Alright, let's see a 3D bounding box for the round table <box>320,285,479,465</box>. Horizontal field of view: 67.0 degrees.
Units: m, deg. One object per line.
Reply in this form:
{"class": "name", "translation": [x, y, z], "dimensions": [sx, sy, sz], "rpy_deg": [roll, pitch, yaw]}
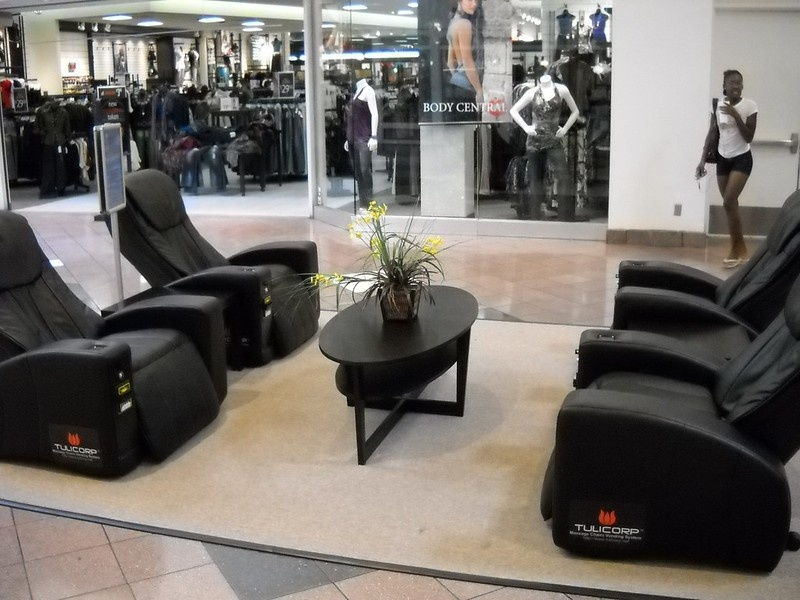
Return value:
{"class": "round table", "translation": [0.008, 0.352, 3.542], "dimensions": [0.751, 0.698, 1.188], "rpy_deg": [9, 20, 29]}

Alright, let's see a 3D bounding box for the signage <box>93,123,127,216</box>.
{"class": "signage", "translation": [-1.941, -0.871, 4.055], "dimensions": [0.187, 0.586, 0.506], "rpy_deg": [-8, 18, -20]}

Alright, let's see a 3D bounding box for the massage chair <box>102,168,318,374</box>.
{"class": "massage chair", "translation": [-1.396, -0.218, 4.770], "dimensions": [1.504, 1.511, 1.383], "rpy_deg": [4, 17, 12]}

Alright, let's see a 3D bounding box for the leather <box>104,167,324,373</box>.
{"class": "leather", "translation": [-1.326, -0.224, 4.781], "dimensions": [1.501, 1.510, 1.388], "rpy_deg": [4, 18, 11]}
